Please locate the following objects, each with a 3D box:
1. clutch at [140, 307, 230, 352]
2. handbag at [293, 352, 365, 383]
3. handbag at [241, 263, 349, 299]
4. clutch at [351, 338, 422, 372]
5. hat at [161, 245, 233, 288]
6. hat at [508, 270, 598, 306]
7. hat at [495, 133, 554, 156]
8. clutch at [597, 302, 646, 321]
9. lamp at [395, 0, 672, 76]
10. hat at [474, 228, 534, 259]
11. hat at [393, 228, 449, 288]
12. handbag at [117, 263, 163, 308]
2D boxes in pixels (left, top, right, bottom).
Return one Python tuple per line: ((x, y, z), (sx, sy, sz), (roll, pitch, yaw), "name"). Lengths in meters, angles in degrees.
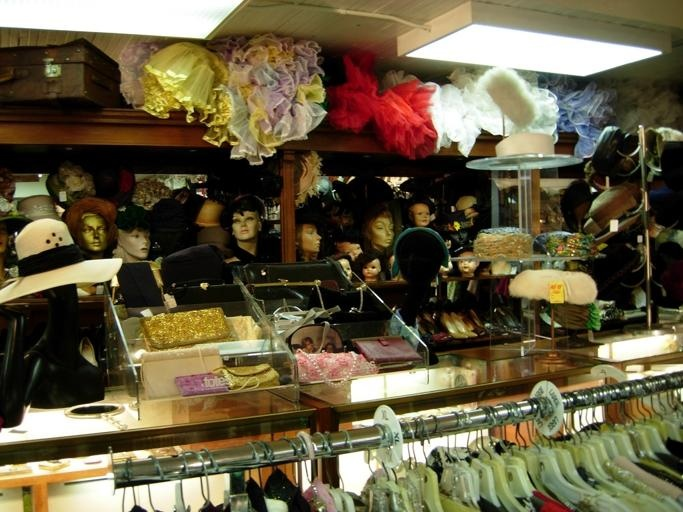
((-0.556, 0.259, 2.014), (0.300, 0.124, 0.157), (-3, -4, -22), "clutch")
((-0.041, 0.425, 2.189), (0.227, 0.048, 0.148), (0, 0, -15), "handbag")
((-0.213, 0.095, 2.590), (0.326, 0.087, 0.237), (0, -2, -31), "handbag")
((0.200, 0.406, 2.298), (0.184, 0.041, 0.150), (-1, 21, -22), "clutch")
((-0.666, 0.038, 2.713), (0.396, 0.270, 0.214), (-6, -10, -9), "hat")
((1.018, 0.150, 2.669), (0.332, 0.084, 0.202), (0, 6, 10), "hat")
((0.917, -0.539, 2.776), (0.194, 0.050, 0.165), (-1, 0, 6), "hat")
((2.071, 0.399, 4.230), (0.439, 0.131, 0.257), (0, -2, -16), "clutch")
((1.067, -1.202, 3.117), (1.338, 0.254, 0.569), (-3, -4, -23), "lamp")
((0.833, -0.061, 2.815), (0.224, 0.083, 0.202), (0, 2, 2), "hat")
((0.429, 0.002, 2.984), (0.308, 0.298, 0.177), (-3, -22, 0), "hat")
((-0.818, 0.106, 2.253), (0.178, 0.189, 0.049), (-5, -30, -33), "handbag")
